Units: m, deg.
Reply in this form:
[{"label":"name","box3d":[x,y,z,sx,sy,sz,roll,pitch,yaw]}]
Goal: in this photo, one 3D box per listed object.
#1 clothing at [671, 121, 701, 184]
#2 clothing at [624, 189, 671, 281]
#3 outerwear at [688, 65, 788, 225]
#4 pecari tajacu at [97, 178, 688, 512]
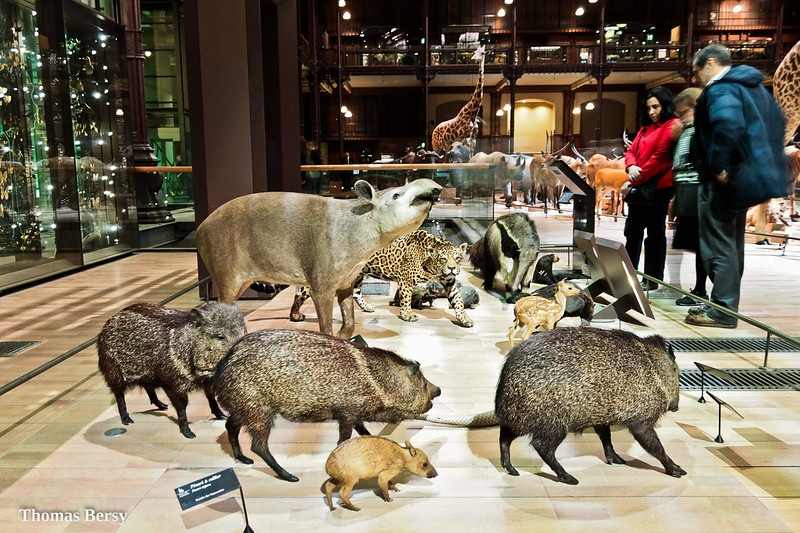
[{"label":"clothing","box3d":[2.535,-0.963,5.158,0.273,0.445,0.349,-5,5,12]},{"label":"clothing","box3d":[2.317,-0.395,5.533,0.280,1.130,0.294,-24,27,-38]},{"label":"outerwear","box3d":[2.534,-0.948,4.401,0.607,1.041,0.400,2,15,21]},{"label":"pecari tajacu","box3d":[0.100,0.169,3.849,3.149,1.469,2.665,2,14,19]}]
